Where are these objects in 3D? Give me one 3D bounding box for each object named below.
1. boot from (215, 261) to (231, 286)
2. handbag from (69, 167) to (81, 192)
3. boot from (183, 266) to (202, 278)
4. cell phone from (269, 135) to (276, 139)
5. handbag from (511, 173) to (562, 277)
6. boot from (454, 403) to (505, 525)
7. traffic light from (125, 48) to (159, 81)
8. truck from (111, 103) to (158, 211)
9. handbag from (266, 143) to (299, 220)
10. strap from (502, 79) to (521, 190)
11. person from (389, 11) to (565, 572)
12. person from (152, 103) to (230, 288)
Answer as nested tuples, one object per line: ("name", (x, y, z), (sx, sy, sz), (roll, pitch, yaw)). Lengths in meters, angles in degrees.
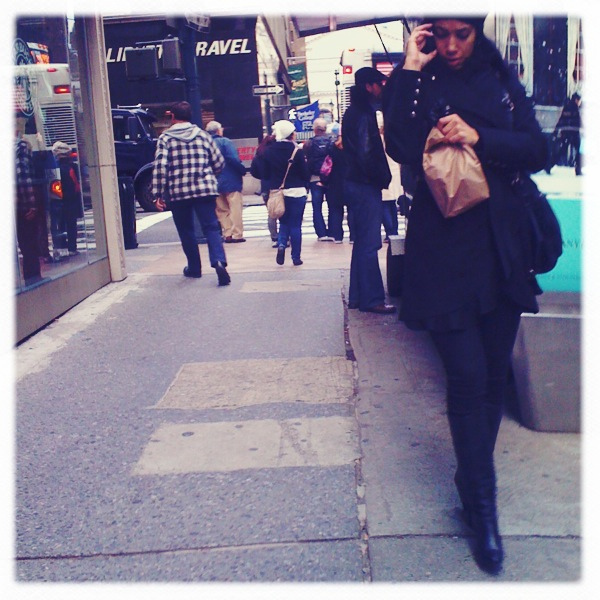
("boot", (-0.901, -0.314, 7.590), (0.110, 0.335, 0.132), (-17, 11, -3))
("handbag", (-2.428, -1.299, 6.913), (0.059, 0.176, 0.112), (-15, 17, -42))
("boot", (-1.390, -0.356, 8.191), (0.272, 0.125, 0.229), (-2, 12, 7))
("cell phone", (-0.418, -2.512, 9.854), (0.078, 0.023, 0.089), (0, 5, 22))
("handbag", (0.879, -0.285, 2.349), (0.103, 0.353, 0.241), (-8, 13, 1))
("boot", (0.702, 0.601, 2.505), (0.140, 0.497, 0.324), (0, -17, 20))
("traffic light", (-2.633, -3.975, 10.690), (0.537, 0.483, 0.564), (-6, 12, -14))
("truck", (-4.347, -3.797, 17.129), (1.084, 2.923, 2.952), (-5, 11, -12))
("handbag", (-0.217, -1.573, 8.477), (0.447, 0.961, 0.268), (-5, 10, -10))
("strap", (0.765, -0.598, 2.278), (0.080, 0.404, 0.034), (10, -9, -15))
("person", (0.626, -0.090, 2.441), (0.525, 1.881, 0.562), (-12, 14, -41))
("person", (-1.301, -1.141, 7.649), (0.810, 1.906, 0.652), (-4, 10, -6))
